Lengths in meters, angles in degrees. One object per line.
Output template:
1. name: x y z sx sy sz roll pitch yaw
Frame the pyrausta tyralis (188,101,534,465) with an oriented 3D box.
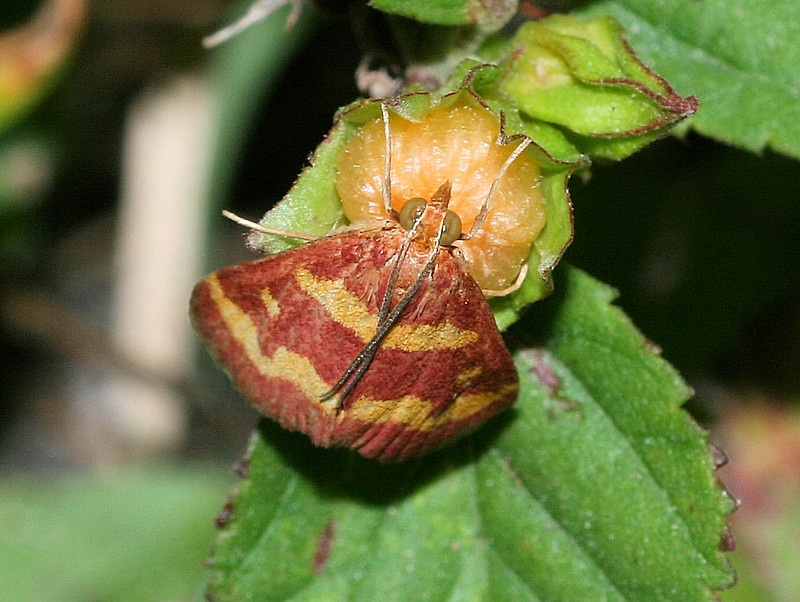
1. pyrausta tyralis: 0.078 -0.022 2.062 0.848 0.982 0.249 9 32 -21

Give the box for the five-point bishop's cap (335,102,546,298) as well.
1. five-point bishop's cap: 0.097 -0.236 2.111 0.443 0.446 0.128 12 1 -3
